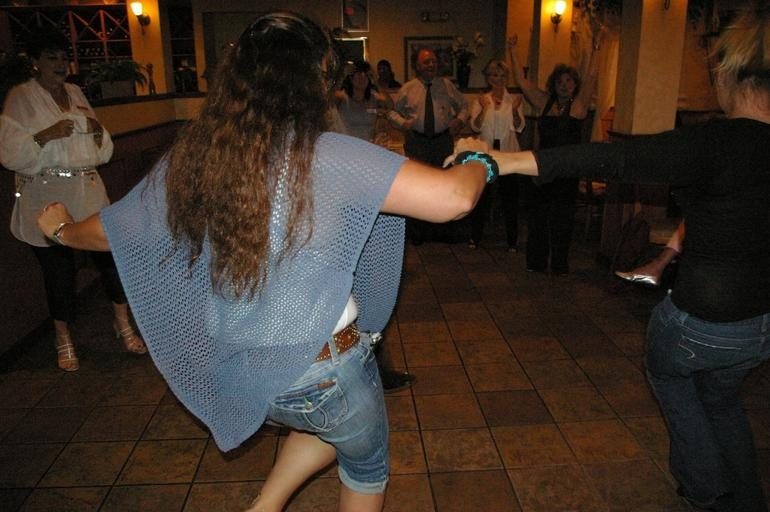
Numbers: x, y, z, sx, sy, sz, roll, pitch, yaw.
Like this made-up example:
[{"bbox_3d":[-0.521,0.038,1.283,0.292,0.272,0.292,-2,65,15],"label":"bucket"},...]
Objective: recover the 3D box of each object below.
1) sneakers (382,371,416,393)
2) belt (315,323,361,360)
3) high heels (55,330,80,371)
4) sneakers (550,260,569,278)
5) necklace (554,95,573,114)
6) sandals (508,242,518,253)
[{"bbox_3d":[0.077,0.804,3.605,0.226,0.084,0.101,-6,18,-9],"label":"sneakers"},{"bbox_3d":[-0.155,0.295,1.872,0.129,0.039,0.096,-32,2,-1],"label":"belt"},{"bbox_3d":[-2.225,0.651,3.938,0.121,0.118,0.328,-8,34,-36],"label":"high heels"},{"bbox_3d":[1.699,0.116,5.465,0.123,0.174,0.189,1,-9,-2],"label":"sneakers"},{"bbox_3d":[1.650,-1.380,5.179,0.126,0.160,0.060,-5,-16,28],"label":"necklace"},{"bbox_3d":[1.393,-0.093,6.137,0.081,0.038,0.107,0,38,8],"label":"sandals"}]
